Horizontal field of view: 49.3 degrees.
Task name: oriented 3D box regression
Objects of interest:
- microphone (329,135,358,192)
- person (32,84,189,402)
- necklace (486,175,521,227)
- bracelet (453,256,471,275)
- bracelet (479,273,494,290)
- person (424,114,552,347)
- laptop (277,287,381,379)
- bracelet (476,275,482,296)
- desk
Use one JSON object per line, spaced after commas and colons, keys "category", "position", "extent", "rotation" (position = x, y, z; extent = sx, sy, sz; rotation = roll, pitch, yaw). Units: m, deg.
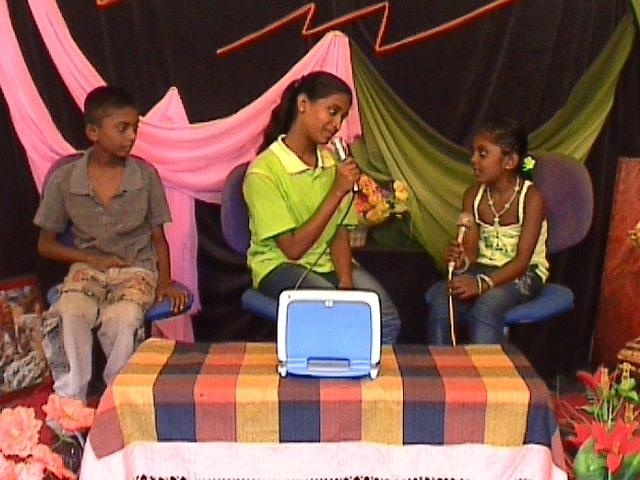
{"category": "microphone", "position": [0.105, -0.364, 3.340], "extent": [0.091, 0.370, 0.064], "rotation": [-7, 21, 20]}
{"category": "person", "position": [-1.026, 0.118, 3.414], "extent": [0.690, 1.176, 0.649], "rotation": [-8, 12, -24]}
{"category": "necklace", "position": [0.926, -0.203, 3.559], "extent": [0.034, 0.247, 0.137], "rotation": [5, 0, -42]}
{"category": "bracelet", "position": [0.715, 0.128, 3.501], "extent": [0.090, 0.107, 0.121], "rotation": [-3, -4, 7]}
{"category": "bracelet", "position": [0.806, 0.203, 3.415], "extent": [0.061, 0.070, 0.017], "rotation": [-10, -4, 40]}
{"category": "person", "position": [0.824, -0.030, 3.488], "extent": [0.475, 1.115, 0.764], "rotation": [4, 13, 34]}
{"category": "laptop", "position": [0.031, 0.280, 2.496], "extent": [0.409, 0.378, 0.259], "rotation": [1, 3, 2]}
{"category": "bracelet", "position": [0.774, 0.213, 3.404], "extent": [0.015, 0.069, 0.050], "rotation": [1, 0, -2]}
{"category": "desk", "position": [0.018, 0.543, 2.457], "extent": [0.988, 0.256, 0.630], "rotation": [0, 7, -2]}
